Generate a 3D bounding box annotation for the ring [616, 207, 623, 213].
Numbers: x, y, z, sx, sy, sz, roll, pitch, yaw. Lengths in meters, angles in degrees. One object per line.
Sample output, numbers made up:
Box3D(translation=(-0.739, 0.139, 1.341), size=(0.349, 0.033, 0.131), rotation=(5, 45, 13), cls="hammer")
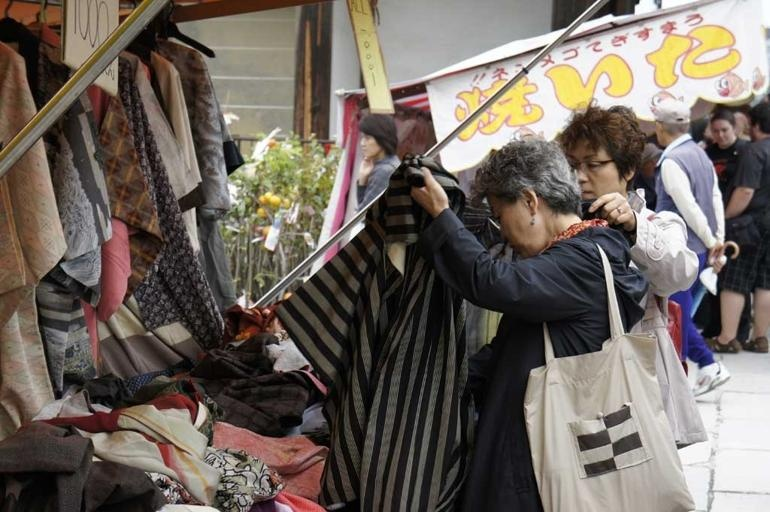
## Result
Box3D(translation=(1.065, -0.201, 3.281), size=(0.021, 0.020, 0.006), rotation=(-4, -50, -1), cls="ring")
